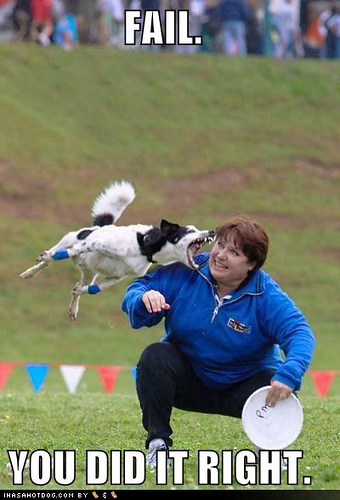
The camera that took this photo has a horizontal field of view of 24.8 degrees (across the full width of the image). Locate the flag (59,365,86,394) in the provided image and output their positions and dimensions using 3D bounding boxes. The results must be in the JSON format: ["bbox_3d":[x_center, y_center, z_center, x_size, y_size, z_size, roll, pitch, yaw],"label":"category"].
[{"bbox_3d":[-0.827,1.096,6.472,0.189,0.178,0.338,2,-1,-9],"label":"flag"}]

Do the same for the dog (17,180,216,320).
[{"bbox_3d":[-0.252,-0.009,3.921,0.949,0.503,0.488,1,-1,1],"label":"dog"}]

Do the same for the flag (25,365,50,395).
[{"bbox_3d":[-1.100,1.065,6.380,0.164,0.180,0.317,2,-1,-10],"label":"flag"}]

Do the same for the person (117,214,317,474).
[{"bbox_3d":[0.216,0.487,3.989,1.158,1.142,0.976,8,-10,8],"label":"person"}]

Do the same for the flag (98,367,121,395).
[{"bbox_3d":[-0.538,1.123,6.685,0.174,0.165,0.242,2,-1,-5],"label":"flag"}]

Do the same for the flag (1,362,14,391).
[{"bbox_3d":[-1.394,1.063,6.606,0.092,0.166,0.630,2,-2,-12],"label":"flag"}]
